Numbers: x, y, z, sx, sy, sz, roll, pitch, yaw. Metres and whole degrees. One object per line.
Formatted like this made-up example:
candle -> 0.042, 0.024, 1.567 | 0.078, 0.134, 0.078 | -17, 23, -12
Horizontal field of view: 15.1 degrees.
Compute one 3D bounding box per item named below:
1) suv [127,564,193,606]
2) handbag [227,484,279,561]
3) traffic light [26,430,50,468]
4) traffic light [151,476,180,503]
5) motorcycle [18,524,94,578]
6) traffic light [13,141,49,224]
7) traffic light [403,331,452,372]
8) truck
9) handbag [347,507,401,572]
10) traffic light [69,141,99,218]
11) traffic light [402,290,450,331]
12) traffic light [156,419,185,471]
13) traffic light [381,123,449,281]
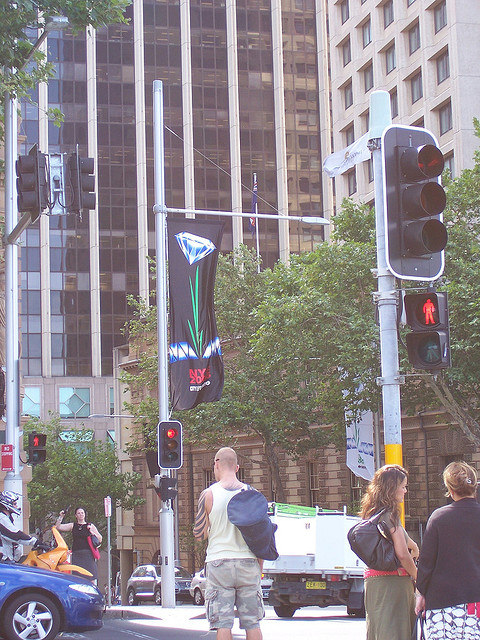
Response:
suv -> -2.611, 7.896, 54.356 | 1.253, 1.059, 2.326 | 5, -16, -29
handbag -> 0.163, 2.366, 21.091 | 0.640, 0.865, 0.261 | 1, -7, -27
traffic light -> -4.264, 2.651, 37.845 | 0.384, 0.700, 1.257 | -1, -7, -7
traffic light -> -1.414, 3.028, 33.262 | 0.494, 0.615, 0.477 | -2, -17, 15
motorcycle -> -2.917, 3.712, 28.299 | 1.199, 0.744, 0.571 | -2, -7, 6
traffic light -> -3.004, -2.053, 26.344 | 0.508, 0.960, 0.300 | -7, -8, 34
traffic light -> 2.279, 0.356, 21.825 | 0.441, 0.642, 0.298 | -5, -4, 4
truck -> 1.180, 4.330, 33.728 | 1.706, 2.008, 3.190 | -1, -1, 2
handbag -> 1.504, 2.487, 20.472 | 0.637, 0.801, 0.619 | 4, -20, -18
traffic light -> -2.311, -1.986, 26.479 | 0.352, 0.963, 0.326 | -3, 0, -12
traffic light -> 2.269, -0.089, 22.099 | 0.679, 0.724, 0.393 | 0, -2, 13
traffic light -> -1.309, 2.279, 33.320 | 0.435, 0.897, 0.578 | -2, -7, -4
traffic light -> 2.108, -1.477, 22.082 | 0.734, 1.925, 0.683 | -3, -6, 5
